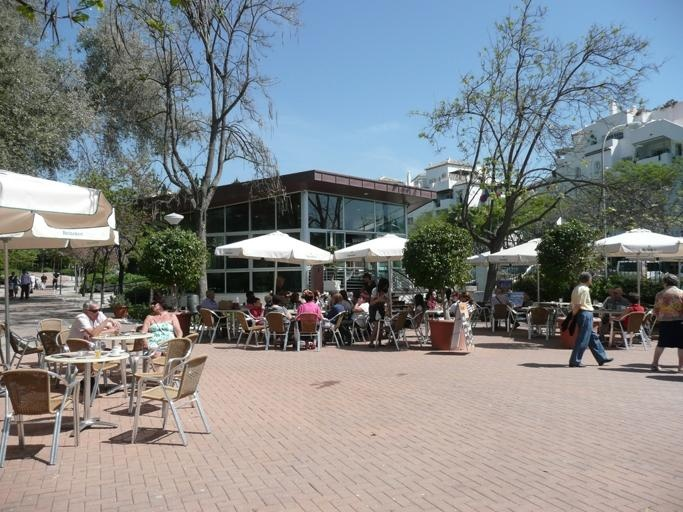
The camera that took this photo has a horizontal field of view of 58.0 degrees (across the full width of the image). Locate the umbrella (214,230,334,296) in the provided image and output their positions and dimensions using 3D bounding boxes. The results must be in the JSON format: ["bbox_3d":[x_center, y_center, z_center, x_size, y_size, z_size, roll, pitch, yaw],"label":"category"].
[{"bbox_3d":[-2.157,-0.171,18.837,2.402,1.737,2.459,1,4,-20],"label":"umbrella"}]

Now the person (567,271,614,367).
[{"bbox_3d":[5.362,1.352,13.262,0.803,2.007,1.440,1,-2,24],"label":"person"}]

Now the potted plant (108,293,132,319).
[{"bbox_3d":[-8.690,1.988,24.255,0.856,1.177,0.859,0,3,-16],"label":"potted plant"}]

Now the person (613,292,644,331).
[{"bbox_3d":[7.209,1.383,15.222,0.481,0.895,1.025,1,-2,26],"label":"person"}]

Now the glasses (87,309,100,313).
[{"bbox_3d":[-4.351,0.969,10.930,0.187,0.055,0.197,-1,-4,41],"label":"glasses"}]

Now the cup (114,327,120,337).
[{"bbox_3d":[-4.163,1.417,11.505,0.125,0.169,0.170,2,-8,-6],"label":"cup"}]
